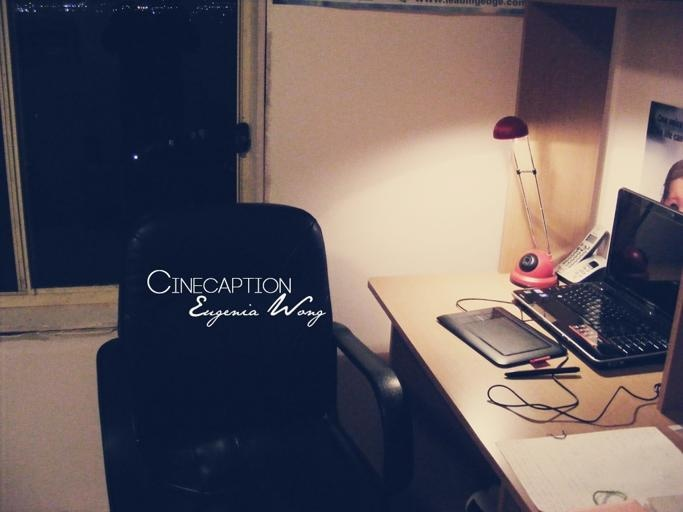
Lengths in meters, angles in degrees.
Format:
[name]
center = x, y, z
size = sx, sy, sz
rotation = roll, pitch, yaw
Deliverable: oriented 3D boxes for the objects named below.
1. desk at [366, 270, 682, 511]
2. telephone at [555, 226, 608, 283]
[desk]
center = 0.559, 0.342, 1.907
size = 0.640, 0.233, 1.059
rotation = -7, 18, -14
[telephone]
center = 0.936, 0.010, 2.268
size = 0.203, 0.127, 0.200
rotation = -27, 17, 5
